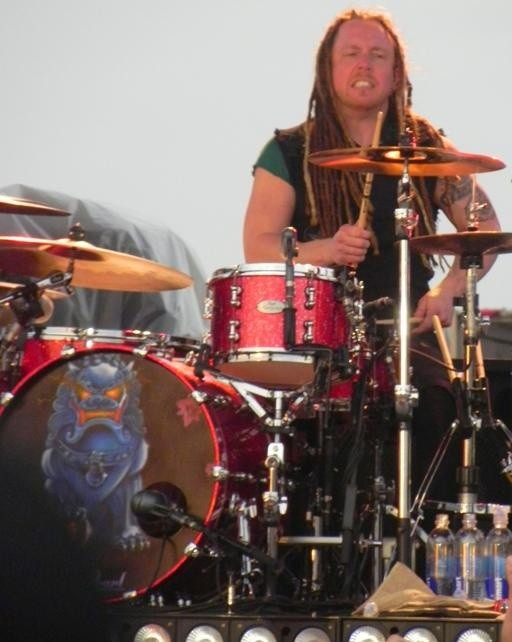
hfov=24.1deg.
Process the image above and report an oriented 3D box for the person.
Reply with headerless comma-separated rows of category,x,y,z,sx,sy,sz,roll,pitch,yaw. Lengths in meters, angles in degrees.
person,0.463,-0.217,4.570,0.981,1.738,1.095,-11,23,-28
